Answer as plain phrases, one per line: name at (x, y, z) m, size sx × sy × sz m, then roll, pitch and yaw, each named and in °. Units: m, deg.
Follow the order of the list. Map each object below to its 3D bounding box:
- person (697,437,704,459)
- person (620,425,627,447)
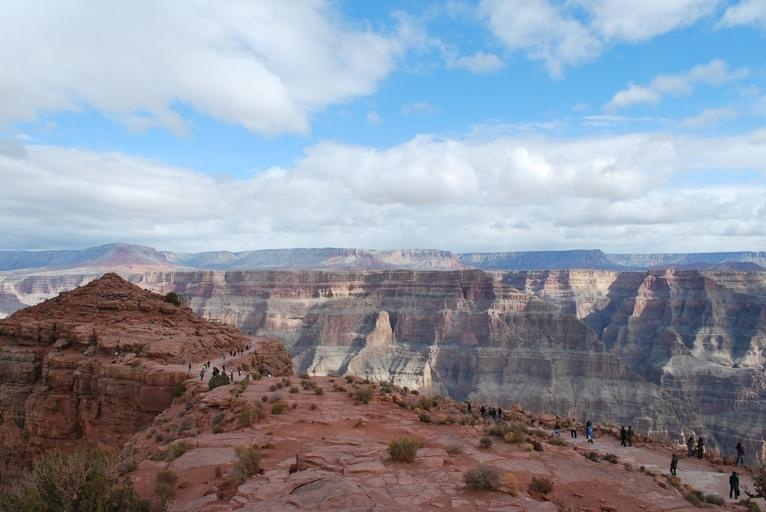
person at (21.399, 12.952, 31.560) m, size 0.384 × 1.497 × 1.268 m, roll 0°, pitch -2°, yaw 35°
person at (16.612, 12.464, 32.276) m, size 0.324 × 1.169 × 1.035 m, roll 0°, pitch -2°, yaw 31°
